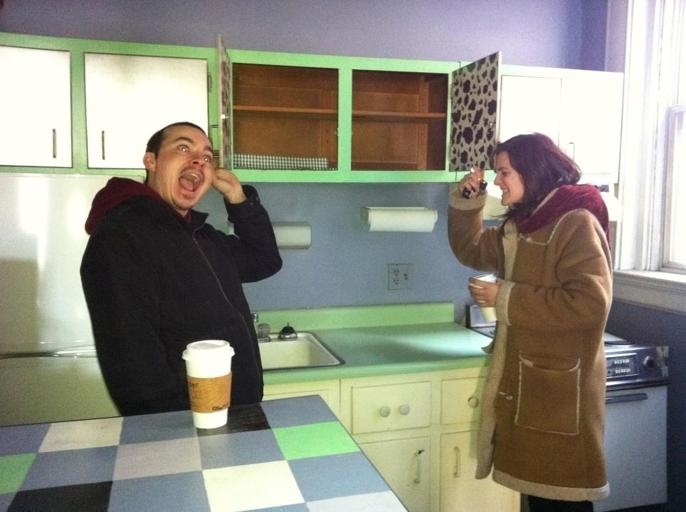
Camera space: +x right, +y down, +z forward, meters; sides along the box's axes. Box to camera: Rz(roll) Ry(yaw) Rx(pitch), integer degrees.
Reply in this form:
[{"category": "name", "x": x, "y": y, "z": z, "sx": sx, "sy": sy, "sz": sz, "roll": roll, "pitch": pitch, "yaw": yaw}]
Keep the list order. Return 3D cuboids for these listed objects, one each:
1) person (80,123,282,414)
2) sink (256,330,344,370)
[{"category": "person", "x": -0.562, "y": 0.047, "z": 1.779, "sx": 0.502, "sy": 0.945, "sz": 0.401, "roll": -12, "pitch": 12, "yaw": -33}, {"category": "sink", "x": -0.209, "y": 0.453, "z": 2.629, "sx": 0.274, "sy": 0.163, "sz": 0.267, "roll": -1, "pitch": 4, "yaw": -15}]
